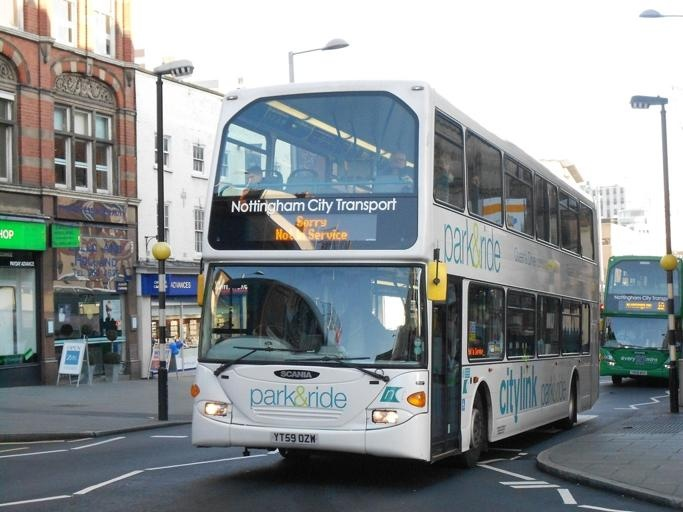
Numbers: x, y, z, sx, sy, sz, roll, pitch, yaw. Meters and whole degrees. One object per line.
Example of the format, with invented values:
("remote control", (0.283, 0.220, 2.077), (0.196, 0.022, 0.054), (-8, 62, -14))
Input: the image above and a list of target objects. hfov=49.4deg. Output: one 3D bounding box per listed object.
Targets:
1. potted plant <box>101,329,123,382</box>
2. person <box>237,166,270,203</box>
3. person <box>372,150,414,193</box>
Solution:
("potted plant", (-9.569, 4.090, 30.946), (0.668, 2.193, 1.081), (1, -7, -15))
("person", (-1.223, -0.999, 10.605), (0.375, 0.778, 0.390), (-2, -7, 28))
("person", (0.749, -1.070, 10.256), (0.688, 0.791, 0.418), (1, -9, 7))
